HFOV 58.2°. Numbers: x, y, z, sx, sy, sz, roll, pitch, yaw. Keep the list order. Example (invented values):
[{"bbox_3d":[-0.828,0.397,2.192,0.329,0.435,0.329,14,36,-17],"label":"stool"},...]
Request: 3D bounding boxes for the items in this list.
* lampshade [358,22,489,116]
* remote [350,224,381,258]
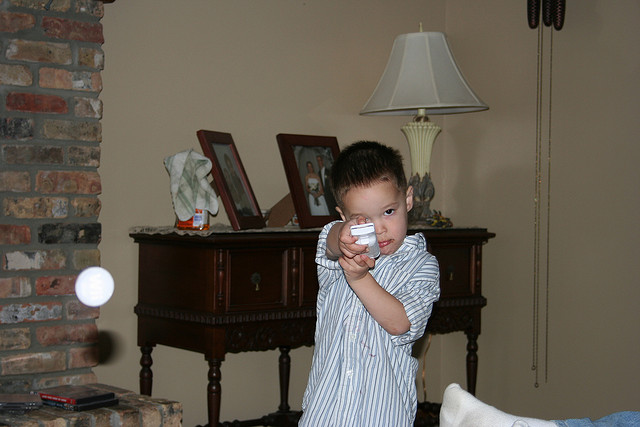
[{"bbox_3d":[0.520,-0.718,2.873,0.629,0.412,0.164,-1,-3,-3],"label":"lampshade"},{"bbox_3d":[0.107,0.072,1.447,0.074,0.082,0.072,-10,-4,17],"label":"remote"}]
